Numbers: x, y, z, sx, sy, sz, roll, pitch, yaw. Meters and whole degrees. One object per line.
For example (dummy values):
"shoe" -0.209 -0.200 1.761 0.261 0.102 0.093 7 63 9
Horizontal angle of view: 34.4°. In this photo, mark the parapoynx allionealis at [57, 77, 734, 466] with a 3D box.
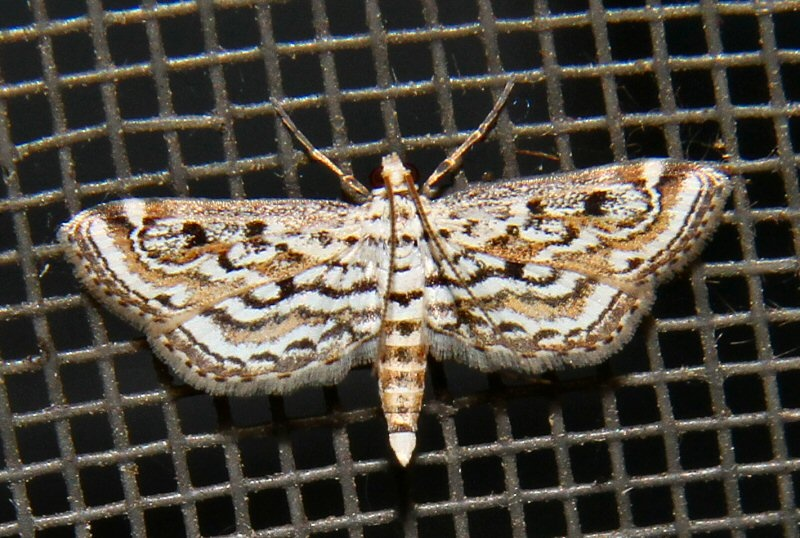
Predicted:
"parapoynx allionealis" -0.023 0.032 5.860 2.833 0.337 1.019 -5 82 -1
